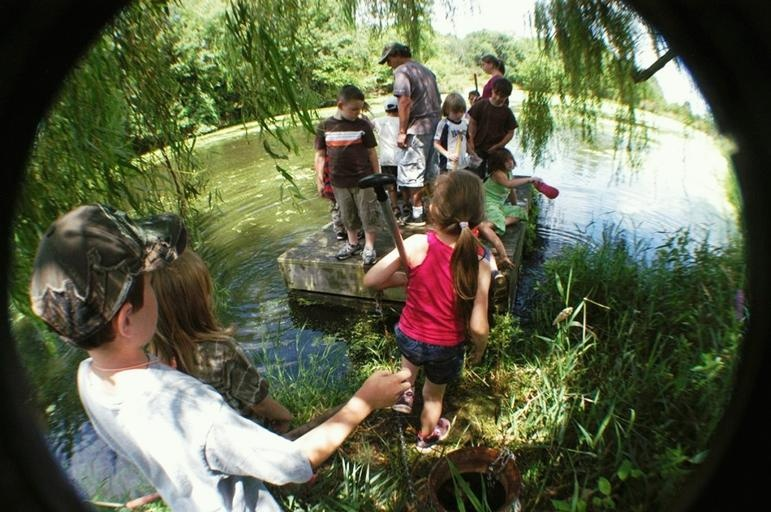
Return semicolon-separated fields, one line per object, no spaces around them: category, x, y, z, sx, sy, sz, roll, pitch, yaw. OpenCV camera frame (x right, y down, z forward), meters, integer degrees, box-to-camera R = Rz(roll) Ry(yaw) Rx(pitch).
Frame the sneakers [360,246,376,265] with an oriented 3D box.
sneakers;-0.157;-0.010;4.766;0.081;0.097;0.220;-4;31;0

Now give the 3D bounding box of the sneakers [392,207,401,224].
sneakers;0.125;-0.448;5.632;0.065;0.082;0.217;-5;60;2

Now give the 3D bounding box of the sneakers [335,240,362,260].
sneakers;-0.369;-0.033;5.021;0.253;0.126;0.143;-29;23;-12

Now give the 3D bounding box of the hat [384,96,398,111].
hat;0.059;-1.712;5.672;0.132;0.173;0.188;9;36;15

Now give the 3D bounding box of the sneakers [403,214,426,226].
sneakers;0.304;-0.376;5.425;0.174;0.085;0.121;2;7;-3

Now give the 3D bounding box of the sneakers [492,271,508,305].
sneakers;0.957;0.260;4.196;0.090;0.242;0.233;3;20;31
